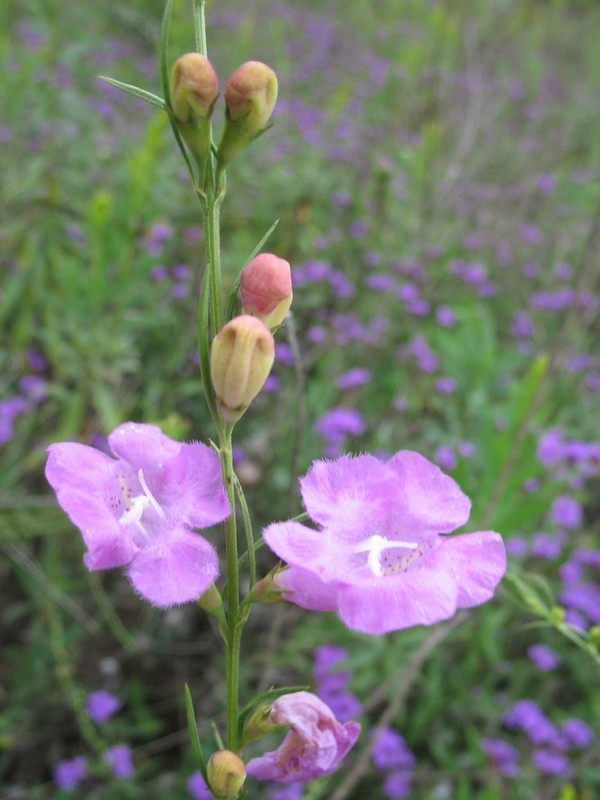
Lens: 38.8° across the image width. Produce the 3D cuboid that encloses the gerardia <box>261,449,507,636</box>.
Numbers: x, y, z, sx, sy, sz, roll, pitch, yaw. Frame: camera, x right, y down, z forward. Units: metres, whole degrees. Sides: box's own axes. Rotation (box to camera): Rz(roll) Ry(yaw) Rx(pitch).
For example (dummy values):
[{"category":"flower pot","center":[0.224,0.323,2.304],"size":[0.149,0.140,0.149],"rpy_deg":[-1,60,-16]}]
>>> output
[{"category":"gerardia","center":[0.132,0.155,1.045],"size":[0.304,0.106,0.306],"rpy_deg":[31,9,20]}]

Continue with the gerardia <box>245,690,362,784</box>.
[{"category":"gerardia","center":[-0.004,0.426,1.044],"size":[0.124,0.069,0.122],"rpy_deg":[-10,52,17]}]

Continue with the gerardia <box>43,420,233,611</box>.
[{"category":"gerardia","center":[-0.197,0.124,0.977],"size":[0.212,0.088,0.209],"rpy_deg":[6,53,-30]}]
